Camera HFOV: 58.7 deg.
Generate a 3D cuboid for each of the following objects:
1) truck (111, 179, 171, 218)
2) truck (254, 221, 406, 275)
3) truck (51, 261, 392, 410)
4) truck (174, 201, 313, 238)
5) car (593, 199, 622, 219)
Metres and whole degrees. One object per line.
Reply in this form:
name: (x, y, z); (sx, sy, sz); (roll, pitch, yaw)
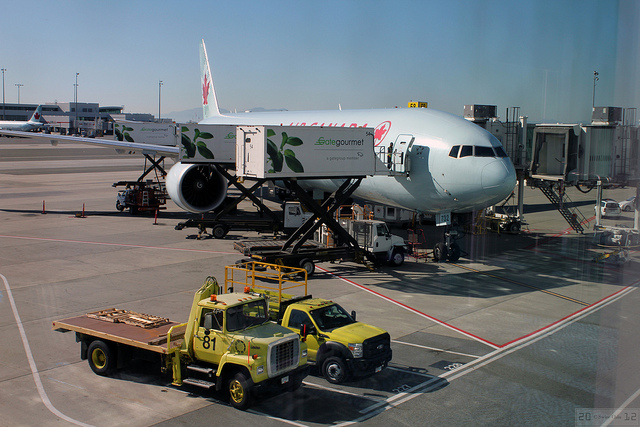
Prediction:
truck: (-14.757, -1.343, 47.189); (4.488, 1.967, 3.082); (4, 2, 39)
truck: (1.025, 1.816, 31.752); (7.866, 2.105, 2.182); (-6, 1, -6)
truck: (-3.515, 5.242, 20.337); (9.509, 3.020, 5.575); (1, 4, 36)
truck: (-5.483, 0.453, 39.345); (10.751, 2.150, 2.377); (-1, 5, -5)
car: (23.032, -0.330, 45.599); (1.370, 0.994, 2.192); (-2, 13, 0)
